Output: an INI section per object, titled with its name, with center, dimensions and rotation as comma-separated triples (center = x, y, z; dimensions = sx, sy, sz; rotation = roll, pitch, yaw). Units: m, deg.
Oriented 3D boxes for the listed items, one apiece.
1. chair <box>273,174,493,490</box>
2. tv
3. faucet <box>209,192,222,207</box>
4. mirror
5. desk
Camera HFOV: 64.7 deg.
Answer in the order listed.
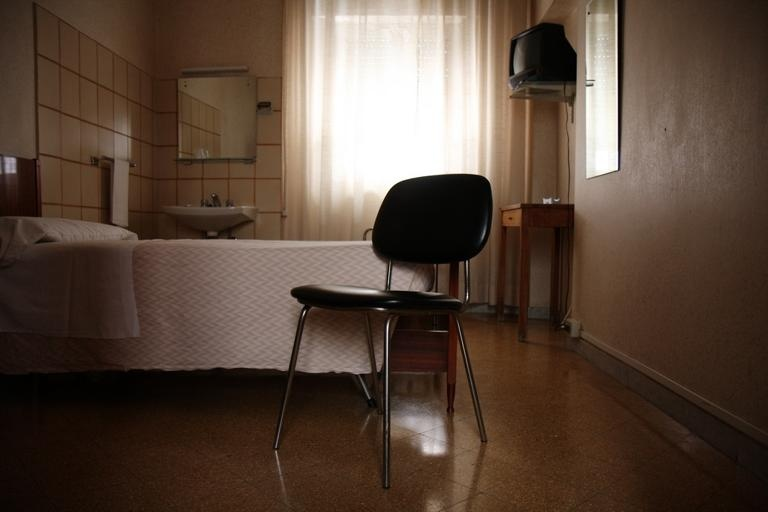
[chair]
center = 0.034, 0.259, 2.799
dimensions = 0.862, 1.171, 0.646
rotation = 5, -1, -25
[tv]
center = 1.109, -1.378, 4.532
dimensions = 0.419, 0.510, 0.575
rotation = -1, 7, -15
[faucet]
center = -1.417, -0.466, 5.106
dimensions = 0.047, 0.129, 0.181
rotation = 5, 0, -5
[mirror]
center = -1.415, -1.179, 5.222
dimensions = 0.732, 0.763, 0.036
rotation = 0, 5, 8
[desk]
center = 1.124, 0.118, 4.534
dimensions = 0.554, 0.724, 0.957
rotation = 4, -1, 10
